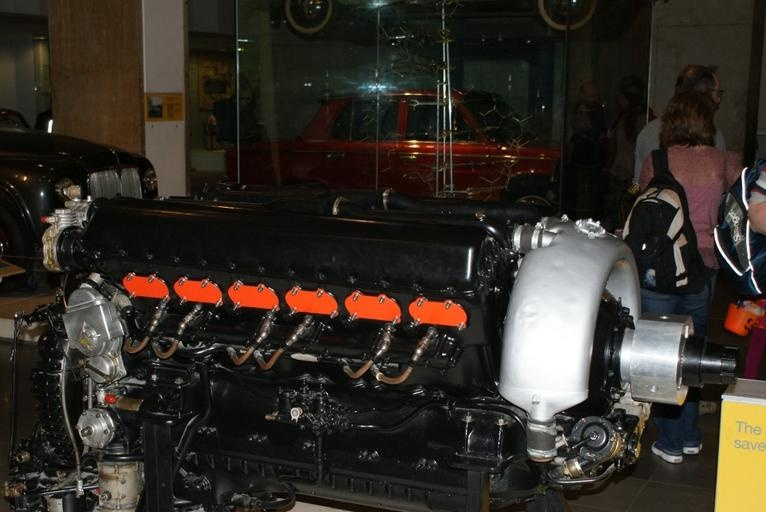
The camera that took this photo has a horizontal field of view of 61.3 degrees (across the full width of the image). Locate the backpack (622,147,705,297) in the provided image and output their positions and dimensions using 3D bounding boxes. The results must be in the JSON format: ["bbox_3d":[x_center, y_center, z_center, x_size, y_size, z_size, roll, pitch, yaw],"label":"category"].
[{"bbox_3d":[1.669,-0.193,3.787,0.516,0.871,0.279,2,4,10],"label":"backpack"}]
